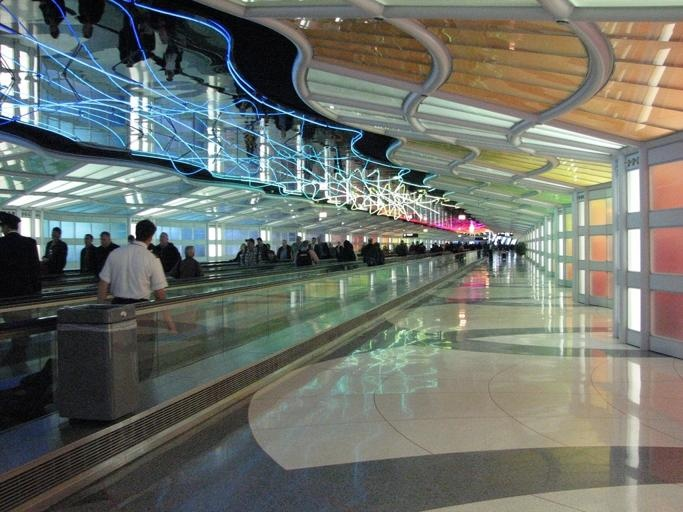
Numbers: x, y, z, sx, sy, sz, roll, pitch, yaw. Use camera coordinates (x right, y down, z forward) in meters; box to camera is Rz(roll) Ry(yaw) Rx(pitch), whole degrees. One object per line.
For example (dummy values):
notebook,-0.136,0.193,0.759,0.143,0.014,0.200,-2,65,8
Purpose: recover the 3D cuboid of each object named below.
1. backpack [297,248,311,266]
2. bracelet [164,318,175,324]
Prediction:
backpack,-1.215,0.015,16.700,0.465,0.513,0.531,-1,6,-2
bracelet,-2.210,0.825,6.625,0.095,0.102,0.082,-14,18,-11
